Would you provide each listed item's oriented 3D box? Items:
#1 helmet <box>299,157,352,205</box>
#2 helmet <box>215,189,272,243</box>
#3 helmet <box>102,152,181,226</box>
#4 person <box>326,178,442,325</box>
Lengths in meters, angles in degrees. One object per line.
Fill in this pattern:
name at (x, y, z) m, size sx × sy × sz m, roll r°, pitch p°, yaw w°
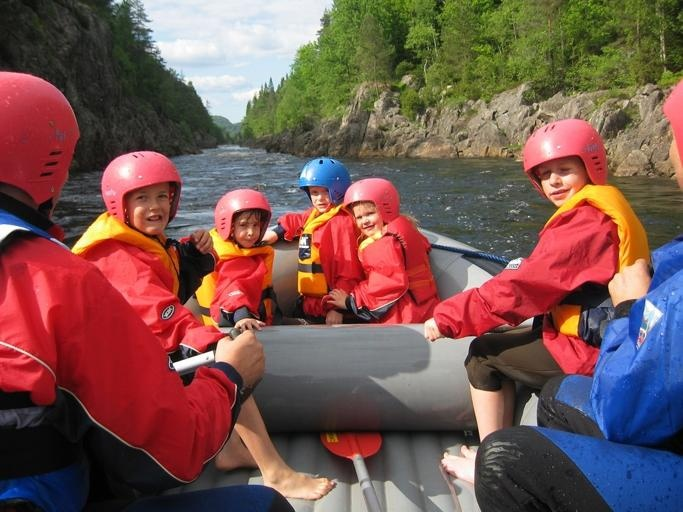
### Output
helmet at (-0.104, -0.569, 5.023) m, size 0.394 × 0.318 × 0.296 m, roll 0°, pitch 0°, yaw -44°
helmet at (-0.651, -0.256, 4.222) m, size 0.276 × 0.295 × 0.361 m, roll 0°, pitch -3°, yaw -35°
helmet at (-1.132, -0.378, 3.534) m, size 0.443 × 0.359 × 0.335 m, roll 8°, pitch 9°, yaw 42°
person at (0.284, 0.055, 4.387) m, size 0.730 × 1.146 × 0.888 m, roll -6°, pitch 11°, yaw -1°
